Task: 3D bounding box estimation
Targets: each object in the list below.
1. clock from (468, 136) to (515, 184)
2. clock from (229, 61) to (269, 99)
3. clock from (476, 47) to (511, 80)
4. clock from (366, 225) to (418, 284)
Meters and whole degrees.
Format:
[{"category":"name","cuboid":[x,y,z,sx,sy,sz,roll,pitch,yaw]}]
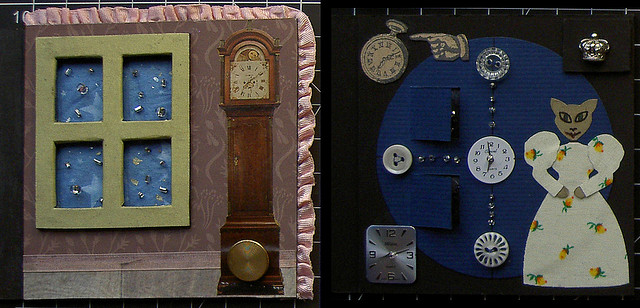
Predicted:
[{"category":"clock","cuboid":[1.176,0.027,9.830,0.457,0.335,0.094,1,1,4]},{"category":"clock","cuboid":[-0.431,-0.504,9.867,0.409,0.294,0.143,1,2,43]},{"category":"clock","cuboid":[1.195,-0.615,9.834,0.315,0.216,0.062,3,1,4]},{"category":"clock","cuboid":[0.515,0.666,9.845,0.576,0.444,0.083,0,-4,1]}]
